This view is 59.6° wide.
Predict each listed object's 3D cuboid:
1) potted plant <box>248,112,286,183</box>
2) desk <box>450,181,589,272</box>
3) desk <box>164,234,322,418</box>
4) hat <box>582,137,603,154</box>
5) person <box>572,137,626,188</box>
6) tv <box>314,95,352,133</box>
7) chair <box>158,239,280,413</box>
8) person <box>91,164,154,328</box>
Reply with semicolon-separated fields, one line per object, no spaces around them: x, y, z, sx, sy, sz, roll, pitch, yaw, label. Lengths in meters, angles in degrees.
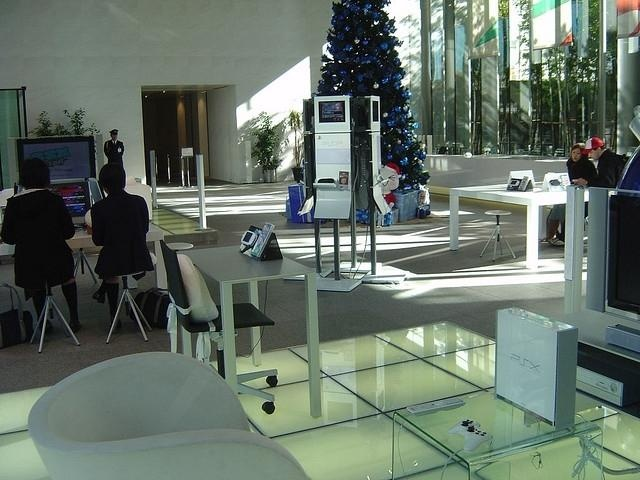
-1.914;-3.238;19.408;1.249;2.286;0.734;8;1;-7;potted plant
2.684;-0.287;8.228;1.516;1.227;1.772;9;1;14;desk
-0.607;0.353;4.203;1.028;1.493;1.448;-5;12;-23;desk
3.846;-1.342;7.916;0.221;0.187;0.328;-21;13;-29;hat
3.886;-1.096;7.727;0.623;0.774;0.744;9;1;26;person
0.178;-1.456;6.832;0.514;0.547;0.396;0;7;9;tv
-0.668;0.578;3.766;0.771;1.133;0.827;-7;18;-23;chair
-1.913;-0.166;5.434;0.621;1.268;0.229;7;1;-25;person
